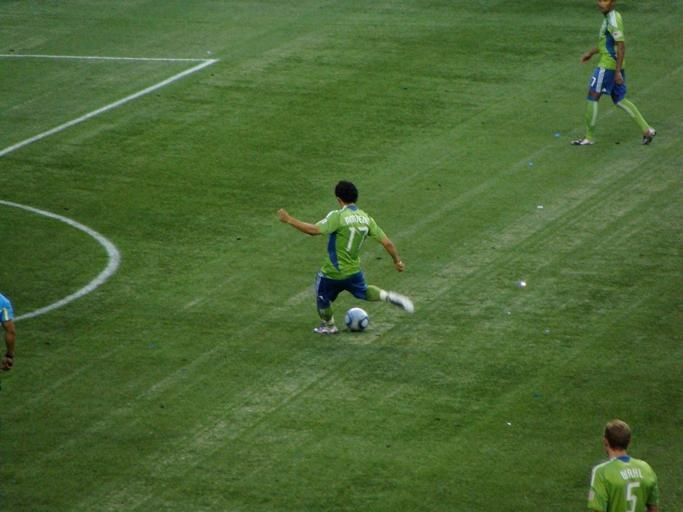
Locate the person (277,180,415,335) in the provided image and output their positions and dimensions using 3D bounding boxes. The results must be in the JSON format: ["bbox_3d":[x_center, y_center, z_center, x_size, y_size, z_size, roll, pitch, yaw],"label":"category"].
[{"bbox_3d":[0.105,0.036,17.592,1.465,1.926,0.848,-1,33,1],"label":"person"}]

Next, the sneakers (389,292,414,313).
[{"bbox_3d":[0.779,0.634,17.794,0.313,0.096,0.159,27,26,3],"label":"sneakers"}]

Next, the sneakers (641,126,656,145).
[{"bbox_3d":[4.923,-1.916,21.421,0.139,0.157,0.363,-5,-4,5],"label":"sneakers"}]

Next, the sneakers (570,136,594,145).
[{"bbox_3d":[3.891,-1.878,21.642,0.371,0.134,0.124,2,4,6],"label":"sneakers"}]
